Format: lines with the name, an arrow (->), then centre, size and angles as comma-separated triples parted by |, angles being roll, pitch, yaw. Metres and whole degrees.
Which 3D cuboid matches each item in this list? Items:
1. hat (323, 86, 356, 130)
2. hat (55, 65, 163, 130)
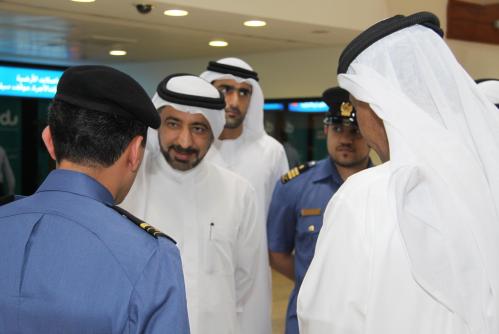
hat -> 0.561, -0.377, 4.027 | 0.197, 0.204, 0.245 | 0, -2, 0
hat -> -0.606, -0.303, 2.695 | 0.306, 0.132, 0.264 | 18, -1, -35
